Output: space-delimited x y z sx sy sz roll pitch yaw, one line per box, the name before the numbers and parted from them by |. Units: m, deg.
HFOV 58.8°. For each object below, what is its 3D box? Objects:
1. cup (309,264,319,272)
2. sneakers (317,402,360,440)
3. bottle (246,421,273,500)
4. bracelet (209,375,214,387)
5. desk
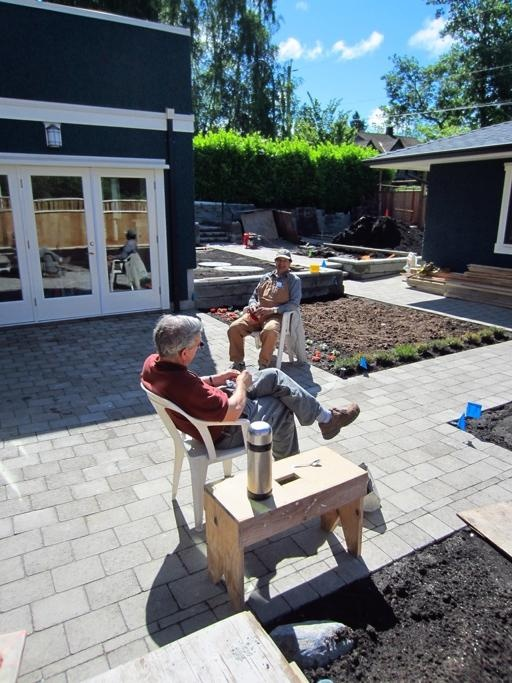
cup | 1.307 -1.603 9.970 0.196 0.157 0.189 0 8 0
sneakers | 0.623 0.575 3.517 0.386 0.174 0.173 -31 25 -20
bottle | 0.011 0.578 2.192 0.130 0.362 0.132 -4 15 1
bracelet | -0.311 0.281 3.114 0.018 0.054 0.040 1 4 -36
desk | 0.159 0.975 2.436 0.814 0.482 0.415 -8 11 -31
